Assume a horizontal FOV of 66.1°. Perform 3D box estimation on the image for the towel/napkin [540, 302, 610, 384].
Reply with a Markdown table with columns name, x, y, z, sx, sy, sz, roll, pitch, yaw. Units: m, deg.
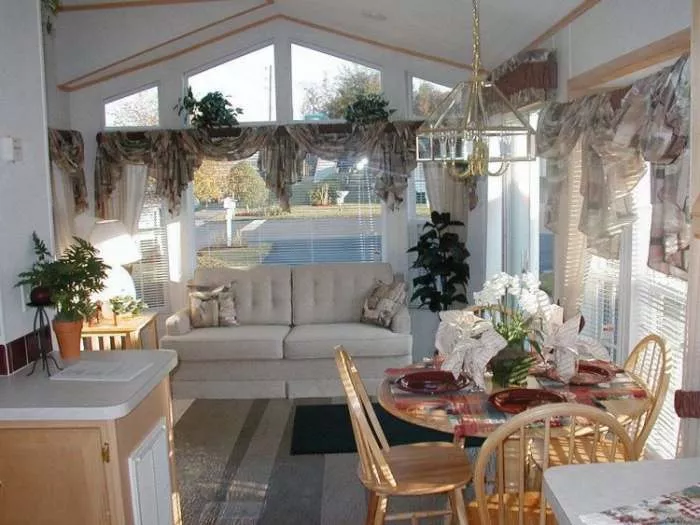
| name | x | y | z | sx | sy | sz | roll | pitch | yaw |
| --- | --- | --- | --- | --- | --- | --- | --- | --- | --- |
| towel/napkin | 1.070 | 0.393 | 2.620 | 0.251 | 0.220 | 0.300 | -10 | -2 | 27 |

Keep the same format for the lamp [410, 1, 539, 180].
| name | x | y | z | sx | sy | sz | roll | pitch | yaw |
| --- | --- | --- | --- | --- | --- | --- | --- | --- | --- |
| lamp | 0.609 | -0.964 | 2.841 | 0.546 | 0.988 | 1.075 | -3 | 13 | 8 |

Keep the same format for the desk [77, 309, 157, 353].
| name | x | y | z | sx | sy | sz | roll | pitch | yaw |
| --- | --- | --- | --- | --- | --- | --- | --- | --- | --- |
| desk | -2.176 | 0.649 | 4.856 | 0.564 | 0.400 | 0.562 | 12 | -7 | -31 |

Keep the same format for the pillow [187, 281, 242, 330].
| name | x | y | z | sx | sy | sz | roll | pitch | yaw |
| --- | --- | --- | --- | --- | --- | --- | --- | --- | --- |
| pillow | -1.301 | 0.429 | 5.148 | 0.373 | 0.367 | 0.132 | -6 | -23 | -7 |

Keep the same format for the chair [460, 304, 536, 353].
| name | x | y | z | sx | sy | sz | roll | pitch | yaw |
| --- | --- | --- | --- | --- | --- | --- | --- | --- | --- |
| chair | 0.810 | 0.343 | 2.730 | 0.226 | 0.228 | 0.252 | -10 | 21 | -31 |

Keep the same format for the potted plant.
| name | x | y | z | sx | sy | sz | roll | pitch | yaw |
| --- | --- | --- | --- | --- | --- | --- | --- | --- | --- |
| potted plant | -1.494 | 0.198 | 2.826 | 0.426 | 0.607 | 0.501 | -4 | 0 | 26 |

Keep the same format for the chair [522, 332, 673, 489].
| name | x | y | z | sx | sy | sz | roll | pitch | yaw |
| --- | --- | --- | --- | --- | --- | --- | --- | --- | --- |
| chair | 1.354 | 0.814 | 2.900 | 0.574 | 0.865 | 0.508 | 2 | 8 | 18 |

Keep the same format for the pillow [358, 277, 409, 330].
| name | x | y | z | sx | sy | sz | roll | pitch | yaw |
| --- | --- | --- | --- | --- | --- | --- | --- | --- | --- |
| pillow | 0.311 | 0.397 | 5.130 | 0.425 | 0.358 | 0.384 | -1 | 13 | 16 |

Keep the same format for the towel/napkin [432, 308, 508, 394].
| name | x | y | z | sx | sy | sz | roll | pitch | yaw |
| --- | --- | --- | --- | --- | --- | --- | --- | --- | --- |
| towel/napkin | 0.549 | 0.386 | 2.713 | 0.295 | 0.307 | 0.128 | -9 | -40 | 48 |
